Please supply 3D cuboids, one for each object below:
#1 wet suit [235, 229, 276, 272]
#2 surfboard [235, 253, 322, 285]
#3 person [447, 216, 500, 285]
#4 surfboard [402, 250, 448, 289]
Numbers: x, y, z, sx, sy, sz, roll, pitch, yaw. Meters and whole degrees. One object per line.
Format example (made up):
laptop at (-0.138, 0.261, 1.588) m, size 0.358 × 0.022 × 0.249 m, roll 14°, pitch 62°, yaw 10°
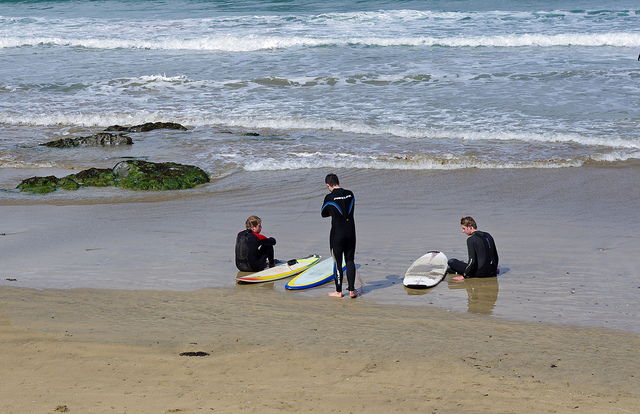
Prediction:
wet suit at (-2.291, 1.575, 36.431) m, size 1.709 × 1.255 × 1.539 m, roll 10°, pitch 20°, yaw 39°
surfboard at (-1.434, 2.224, 36.286) m, size 3.575 × 0.367 × 0.898 m, roll -17°, pitch 32°, yaw -21°
person at (5.273, 1.490, 35.907) m, size 1.675 × 2.193 × 0.773 m, roll 0°, pitch 16°, yaw 7°
surfboard at (3.642, 2.103, 36.064) m, size 1.363 × 1.851 × 0.232 m, roll 9°, pitch 46°, yaw -12°
